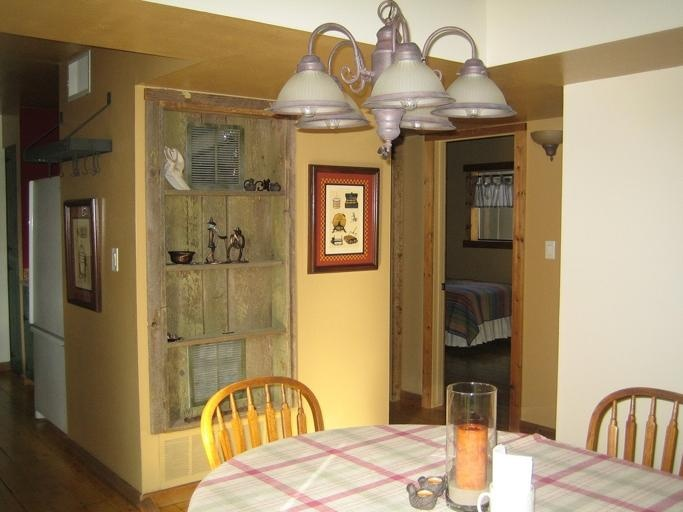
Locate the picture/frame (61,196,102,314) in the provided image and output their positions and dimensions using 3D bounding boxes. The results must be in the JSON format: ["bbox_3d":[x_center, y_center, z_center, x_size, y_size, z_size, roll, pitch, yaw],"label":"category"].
[{"bbox_3d":[-1.904,-0.020,4.082,0.076,0.973,0.857,0,3,-34],"label":"picture/frame"}]

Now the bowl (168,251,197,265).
[{"bbox_3d":[-1.049,0.006,3.639,0.172,0.088,0.172,-1,4,0],"label":"bowl"}]

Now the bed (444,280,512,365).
[{"bbox_3d":[1.850,0.770,7.419,1.042,0.487,1.035,-6,10,-36],"label":"bed"}]

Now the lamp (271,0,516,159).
[{"bbox_3d":[0.139,-0.658,1.924,0.753,0.607,0.619,-4,5,-39],"label":"lamp"}]

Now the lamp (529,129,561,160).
[{"bbox_3d":[1.658,-0.901,4.479,0.222,0.176,0.206,-7,8,-39],"label":"lamp"}]
